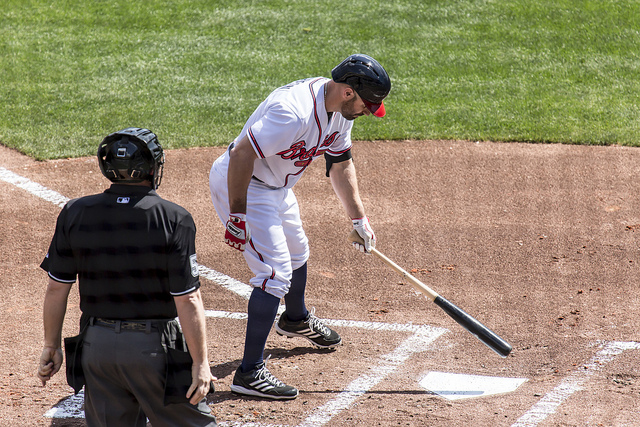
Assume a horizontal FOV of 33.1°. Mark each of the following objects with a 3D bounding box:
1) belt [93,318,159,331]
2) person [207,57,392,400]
[{"bbox_3d":[-1.996,1.126,10.997,0.669,0.091,0.060,3,13,1],"label":"belt"},{"bbox_3d":[-0.267,0.122,12.221,1.665,3.833,0.894,-6,18,-38],"label":"person"}]
